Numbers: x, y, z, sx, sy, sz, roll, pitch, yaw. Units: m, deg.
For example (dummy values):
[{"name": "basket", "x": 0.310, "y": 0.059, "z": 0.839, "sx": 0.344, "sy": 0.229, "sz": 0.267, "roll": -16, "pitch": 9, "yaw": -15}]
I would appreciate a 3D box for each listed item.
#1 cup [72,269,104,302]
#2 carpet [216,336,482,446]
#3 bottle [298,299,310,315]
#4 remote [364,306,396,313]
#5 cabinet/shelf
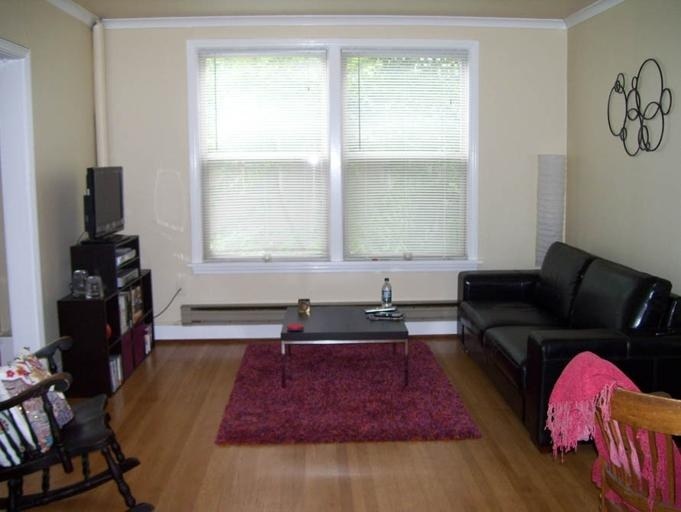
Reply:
[{"name": "cup", "x": -2.026, "y": 0.242, "z": 4.342, "sx": 0.269, "sy": 0.291, "sz": 0.170, "roll": 2, "pitch": 1, "yaw": -10}, {"name": "carpet", "x": 0.032, "y": 1.088, "z": 4.451, "sx": 1.840, "sy": 0.109, "sz": 1.470, "roll": -2, "pitch": 12, "yaw": -1}, {"name": "bottle", "x": -0.316, "y": 0.458, "z": 4.888, "sx": 0.131, "sy": 0.148, "sz": 0.106, "roll": 0, "pitch": -3, "yaw": 7}, {"name": "remote", "x": 0.353, "y": 0.469, "z": 4.701, "sx": 0.176, "sy": 0.041, "sz": 0.102, "roll": -2, "pitch": 3, "yaw": -4}, {"name": "cabinet/shelf", "x": -1.963, "y": 0.515, "z": 4.479, "sx": 0.274, "sy": 1.098, "sz": 1.114, "roll": -2, "pitch": 8, "yaw": -5}]
